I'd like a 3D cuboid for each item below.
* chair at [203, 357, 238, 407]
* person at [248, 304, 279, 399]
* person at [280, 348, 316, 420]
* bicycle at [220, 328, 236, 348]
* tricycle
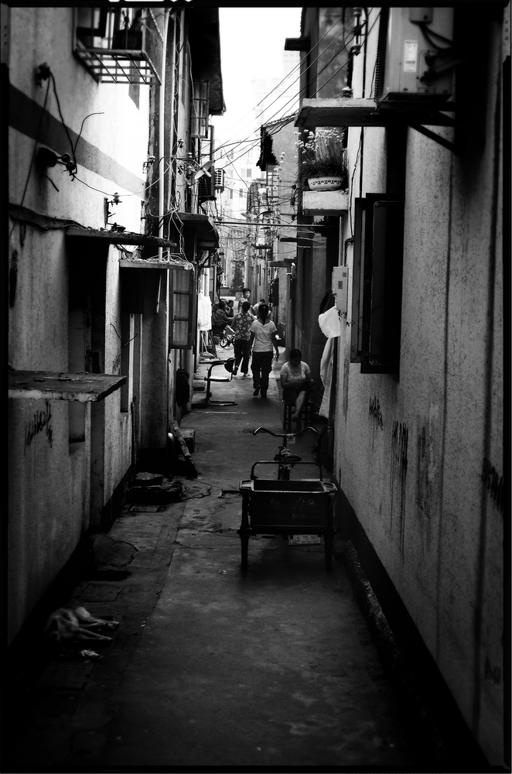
[{"bbox_3d":[-1.013,-0.112,19.576,0.598,1.270,0.681,2,0,-20],"label":"chair"},{"bbox_3d":[0.158,-0.823,18.234,0.513,2.520,0.458,-3,-23,15],"label":"person"},{"bbox_3d":[0.774,-0.042,14.013,0.570,1.324,0.738,1,2,4],"label":"person"},{"bbox_3d":[-1.312,-2.276,33.652,0.550,1.214,2.167,0,-3,-2],"label":"bicycle"},{"bbox_3d":[0.318,1.218,7.434,0.763,1.489,1.806,1,-2,2],"label":"tricycle"}]
